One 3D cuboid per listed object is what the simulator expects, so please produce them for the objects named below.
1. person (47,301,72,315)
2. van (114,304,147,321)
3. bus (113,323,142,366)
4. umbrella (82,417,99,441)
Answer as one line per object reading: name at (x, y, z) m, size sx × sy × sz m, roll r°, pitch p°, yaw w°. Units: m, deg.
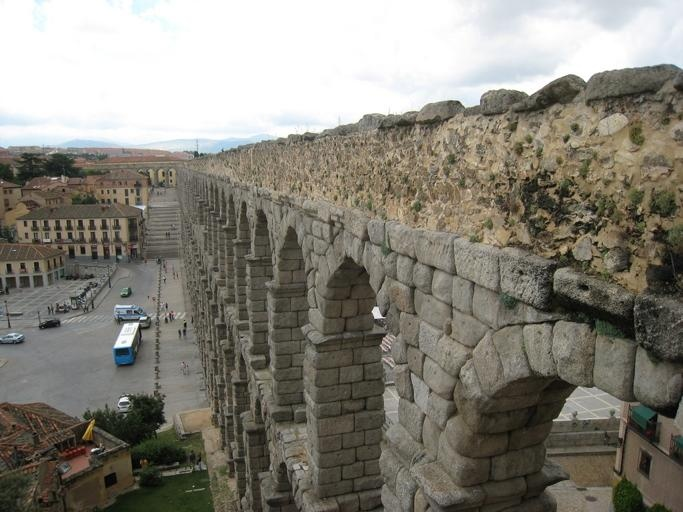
person at (-23.404, 4.360, 44.393) m, size 1.570 × 0.527 × 1.168 m, roll 0°, pitch 5°, yaw -11°
van at (-16.609, 4.450, 41.933) m, size 2.231 × 1.076 × 1.689 m, roll -1°, pitch 12°, yaw 1°
bus at (-14.020, 5.741, 35.053) m, size 1.213 × 1.158 × 4.373 m, roll -6°, pitch 10°, yaw -11°
umbrella at (-10.848, 7.458, 23.041) m, size 0.629 × 1.219 × 0.718 m, roll 10°, pitch -1°, yaw -27°
